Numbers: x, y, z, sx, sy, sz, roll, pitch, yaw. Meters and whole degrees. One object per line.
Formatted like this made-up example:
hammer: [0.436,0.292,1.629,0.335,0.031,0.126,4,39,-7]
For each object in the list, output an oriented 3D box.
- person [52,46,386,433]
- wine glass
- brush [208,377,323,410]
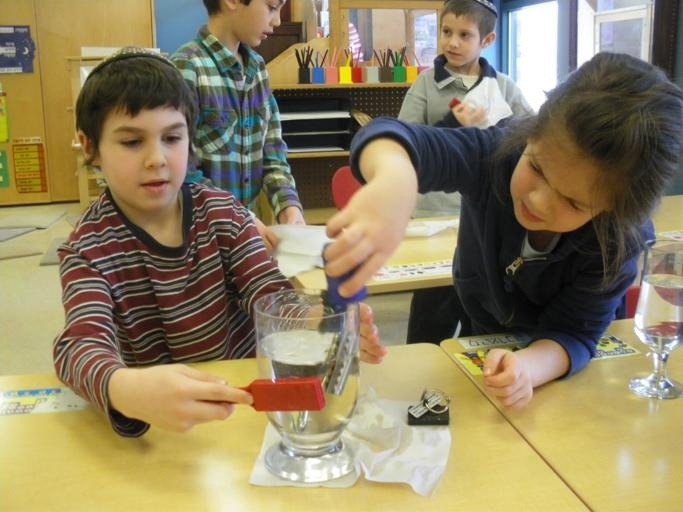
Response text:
person: [-0.271,-0.136,1.433,0.684,0.921,0.814,-15,27,-37]
wine glass: [-0.037,0.201,0.988,0.238,0.402,0.252,-2,12,-6]
brush: [-0.129,0.216,0.873,0.212,0.051,0.023,-8,7,26]
